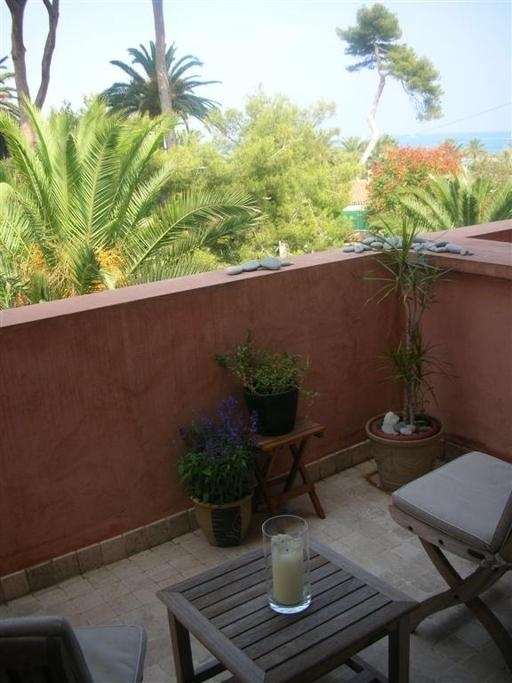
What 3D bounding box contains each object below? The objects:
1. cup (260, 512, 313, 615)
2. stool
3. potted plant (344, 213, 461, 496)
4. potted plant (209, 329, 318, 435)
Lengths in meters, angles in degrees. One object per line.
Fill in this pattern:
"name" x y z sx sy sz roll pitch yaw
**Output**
"cup" 0.070 0.549 1.342 0.112 0.234 0.128 -3 9 -4
"stool" 0.152 0.697 2.897 0.324 0.548 0.338 -11 22 -32
"potted plant" 0.887 0.063 3.119 0.613 1.528 0.970 0 14 12
"potted plant" 0.067 0.192 2.822 0.415 0.547 0.433 -7 21 -38
